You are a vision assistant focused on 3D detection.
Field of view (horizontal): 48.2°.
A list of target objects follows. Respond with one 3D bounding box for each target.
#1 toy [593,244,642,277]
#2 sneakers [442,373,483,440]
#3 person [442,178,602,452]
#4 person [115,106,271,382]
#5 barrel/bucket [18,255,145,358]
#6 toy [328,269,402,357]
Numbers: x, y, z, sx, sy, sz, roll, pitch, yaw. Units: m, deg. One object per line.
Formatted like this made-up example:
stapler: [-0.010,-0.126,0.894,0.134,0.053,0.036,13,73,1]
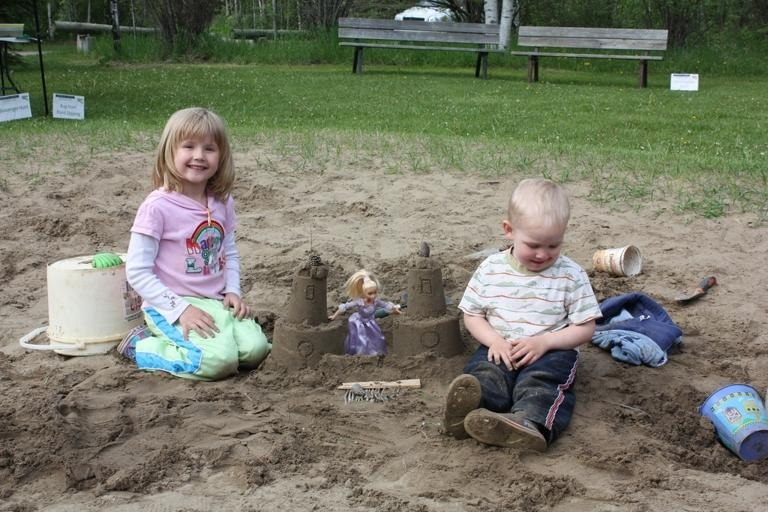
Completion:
toy: [2.184,0.060,8.088,0.440,0.352,0.318,1,48,32]
sneakers: [0.563,1.055,6.264,0.208,0.494,0.205,13,2,3]
person: [1.062,0.419,6.345,1.028,1.829,1.004,4,16,13]
person: [-1.572,-0.106,7.012,1.093,2.099,0.864,-5,16,-18]
barrel/bucket: [-2.622,0.382,7.470,0.968,0.727,0.733,-5,9,-29]
toy: [-0.149,0.458,7.175,0.490,0.669,0.596,7,17,24]
